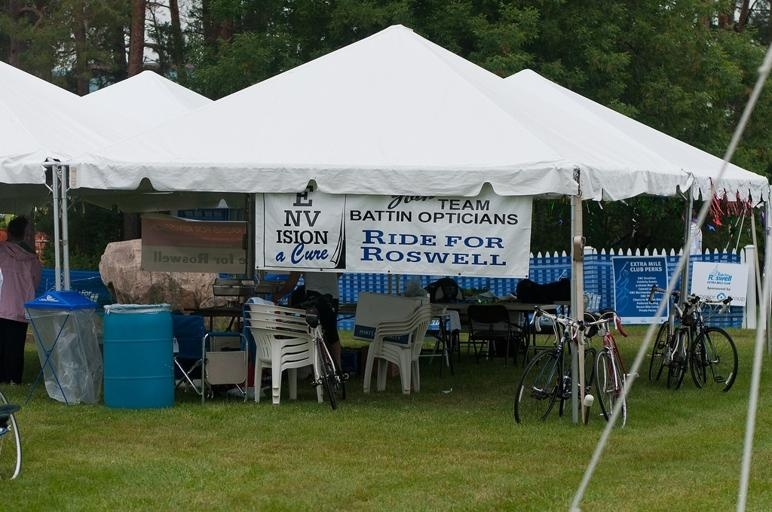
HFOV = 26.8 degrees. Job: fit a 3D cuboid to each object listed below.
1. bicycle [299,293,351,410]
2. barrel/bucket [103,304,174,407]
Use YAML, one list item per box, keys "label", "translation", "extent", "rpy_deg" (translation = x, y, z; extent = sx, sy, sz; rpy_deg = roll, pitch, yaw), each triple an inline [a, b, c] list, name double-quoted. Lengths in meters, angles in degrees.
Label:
- label: "bicycle"
  translation: [-1.058, 1.660, 29.556]
  extent: [0.874, 2.039, 1.164]
  rpy_deg: [-15, -32, 16]
- label: "barrel/bucket"
  translation: [-4.624, 1.797, 28.694]
  extent: [1.590, 2.203, 1.588]
  rpy_deg: [0, -1, 0]
